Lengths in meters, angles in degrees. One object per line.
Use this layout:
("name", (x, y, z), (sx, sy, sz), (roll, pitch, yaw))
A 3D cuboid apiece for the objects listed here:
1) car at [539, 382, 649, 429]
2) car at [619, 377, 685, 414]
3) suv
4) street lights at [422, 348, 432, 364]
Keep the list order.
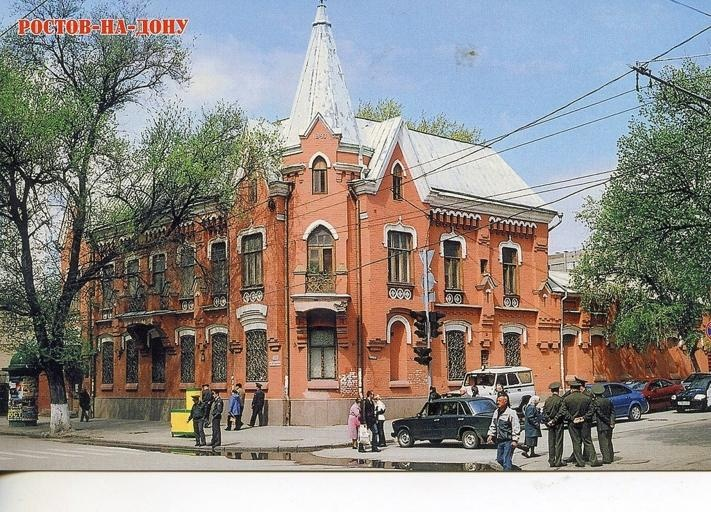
("car", (9.990, 6.214, 42.034), (5.633, 1.953, 2.513), (5, -12, -28))
("car", (14.995, 7.490, 52.476), (2.691, 2.193, 2.150), (1, -10, -39))
("suv", (6.875, 6.570, 49.594), (3.559, 1.943, 2.087), (5, -13, -24))
("street lights", (3.135, 4.399, 44.378), (0.533, 0.939, 0.693), (-2, -10, 8))
